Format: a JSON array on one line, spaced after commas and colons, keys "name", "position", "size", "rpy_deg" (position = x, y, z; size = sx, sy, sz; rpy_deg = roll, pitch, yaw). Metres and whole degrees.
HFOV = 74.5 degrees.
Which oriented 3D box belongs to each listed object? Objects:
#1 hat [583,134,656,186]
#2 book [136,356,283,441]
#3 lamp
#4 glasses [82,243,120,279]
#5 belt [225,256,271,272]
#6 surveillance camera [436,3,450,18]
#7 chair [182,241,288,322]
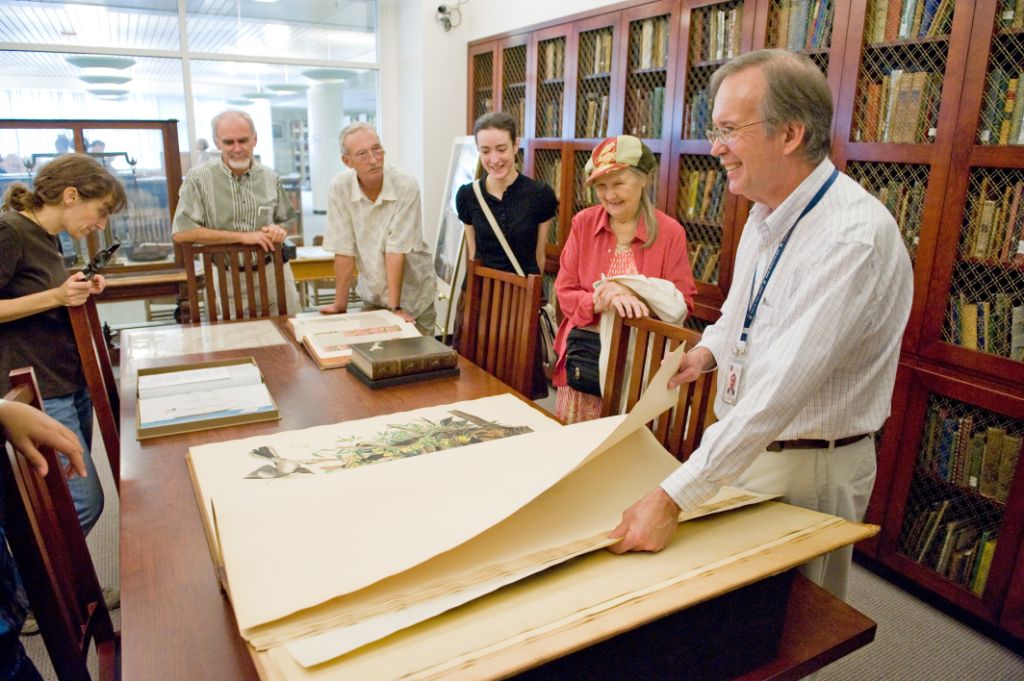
[{"name": "hat", "position": [0.429, -0.756, 2.820], "size": [0.273, 0.208, 0.387], "rpy_deg": [-1, 12, 32]}, {"name": "book", "position": [-1.009, 0.192, 2.195], "size": [0.289, 0.035, 0.318], "rpy_deg": [-8, 26, -27]}, {"name": "lamp", "position": [-2.347, -2.359, 5.785], "size": [2.370, 0.284, 0.129], "rpy_deg": [-12, 17, -27]}, {"name": "glasses", "position": [-1.497, -0.290, 2.441], "size": [0.125, 0.127, 0.326], "rpy_deg": [-14, 17, -31]}, {"name": "belt", "position": [-1.383, -0.400, 3.526], "size": [0.160, 0.084, 0.228], "rpy_deg": [-7, 3, -32]}, {"name": "surveillance camera", "position": [-0.584, -2.740, 5.620], "size": [0.099, 0.120, 0.123], "rpy_deg": [-6, 15, -7]}, {"name": "chair", "position": [-1.441, -0.308, 3.530], "size": [0.388, 0.700, 0.407], "rpy_deg": [-8, 16, -29]}]
